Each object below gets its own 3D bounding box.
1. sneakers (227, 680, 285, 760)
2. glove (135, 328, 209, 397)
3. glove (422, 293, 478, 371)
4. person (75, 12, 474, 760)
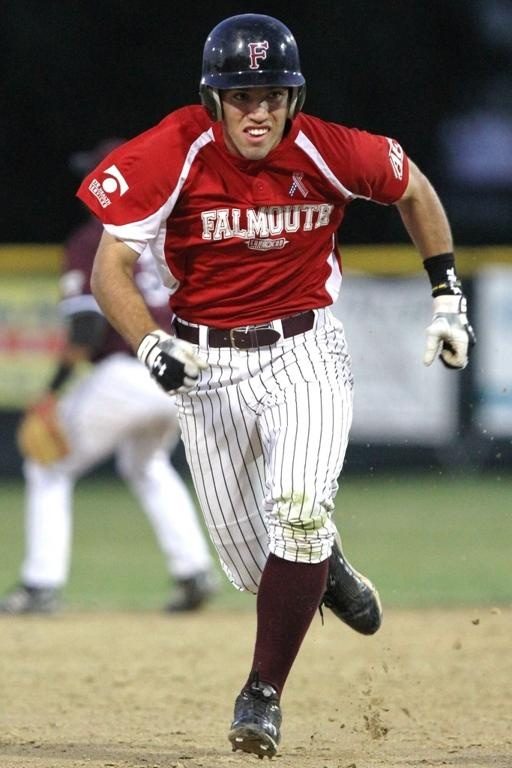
[{"bbox_3d":[0.002,0.678,1.866,0.082,0.097,0.192,2,-4,10],"label":"sneakers"},{"bbox_3d":[-0.174,-0.041,1.926,0.102,0.052,0.140,-36,42,-5],"label":"glove"},{"bbox_3d":[0.471,-0.122,2.333,0.157,0.177,0.076,1,-10,-2],"label":"glove"},{"bbox_3d":[0.064,-0.020,2.176,0.527,1.638,0.800,-4,-3,41],"label":"person"}]
